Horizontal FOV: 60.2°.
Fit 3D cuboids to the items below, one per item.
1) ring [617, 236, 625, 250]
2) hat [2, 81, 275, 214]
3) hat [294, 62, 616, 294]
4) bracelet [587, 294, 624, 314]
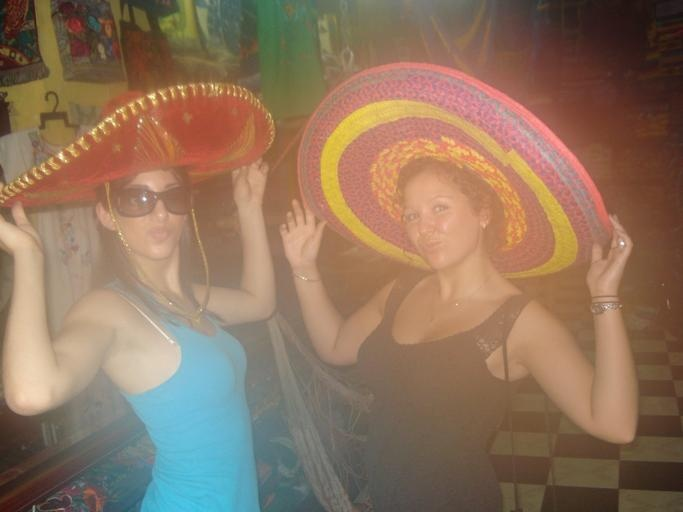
[{"bbox_3d":[0.912,-0.041,1.929,0.016,0.028,0.028,-1,-13,-23],"label":"ring"},{"bbox_3d":[-0.681,-0.401,2.051,0.638,0.192,0.661,-24,-9,15],"label":"hat"},{"bbox_3d":[0.367,-0.292,2.220,1.160,0.814,0.471,-2,11,24],"label":"hat"},{"bbox_3d":[0.881,0.166,1.953,0.065,0.041,0.080,11,-14,-27],"label":"bracelet"}]
